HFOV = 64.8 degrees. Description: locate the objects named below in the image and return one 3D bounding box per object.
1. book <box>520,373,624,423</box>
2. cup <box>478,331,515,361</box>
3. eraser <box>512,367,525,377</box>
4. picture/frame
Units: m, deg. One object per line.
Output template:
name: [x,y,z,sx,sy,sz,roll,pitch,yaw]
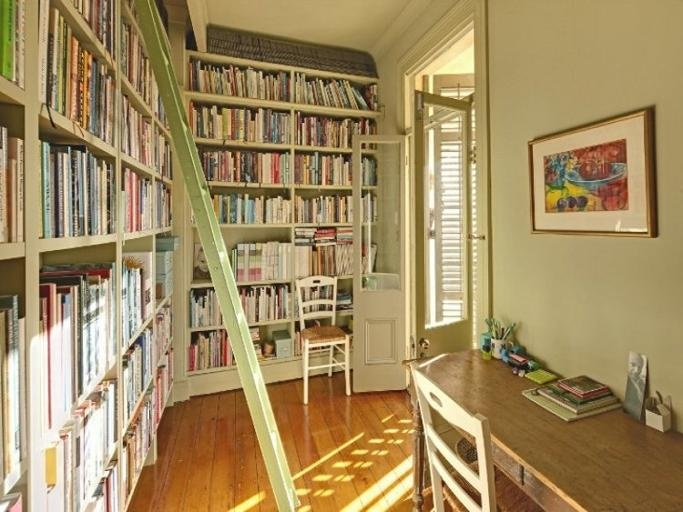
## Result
book: [1.082,0.672,2.525,0.212,0.056,0.224,-12,13,-17]
cup: [0.875,0.513,3.023,0.176,0.137,0.110,2,-2,17]
eraser: [0.929,0.614,2.819,0.033,0.019,0.048,-5,12,-9]
picture/frame: [1.232,-0.411,2.610,0.066,0.605,0.656,-1,-1,-39]
